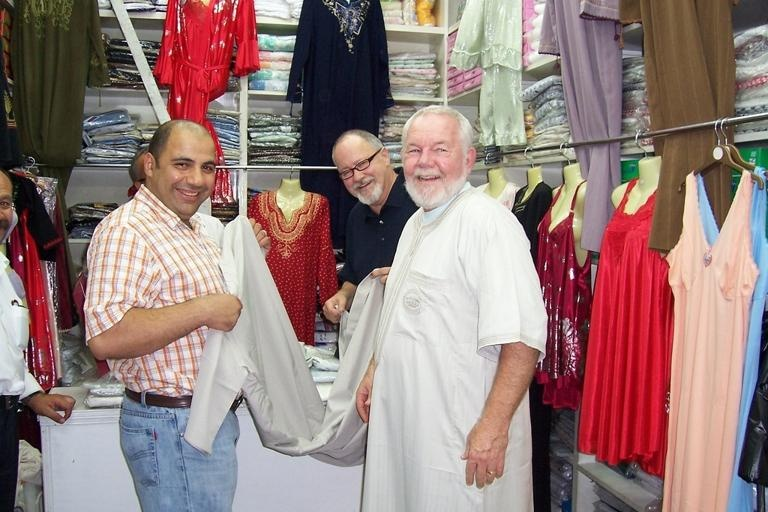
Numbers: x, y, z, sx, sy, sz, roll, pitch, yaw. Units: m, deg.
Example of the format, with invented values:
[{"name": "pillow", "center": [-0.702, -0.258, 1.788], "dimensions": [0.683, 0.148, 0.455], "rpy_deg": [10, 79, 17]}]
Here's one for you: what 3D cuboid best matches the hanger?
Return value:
[{"name": "hanger", "center": [1.432, -0.432, 2.363], "dimensions": [0.159, 0.306, 0.355], "rpy_deg": [-2, 6, -27]}]
